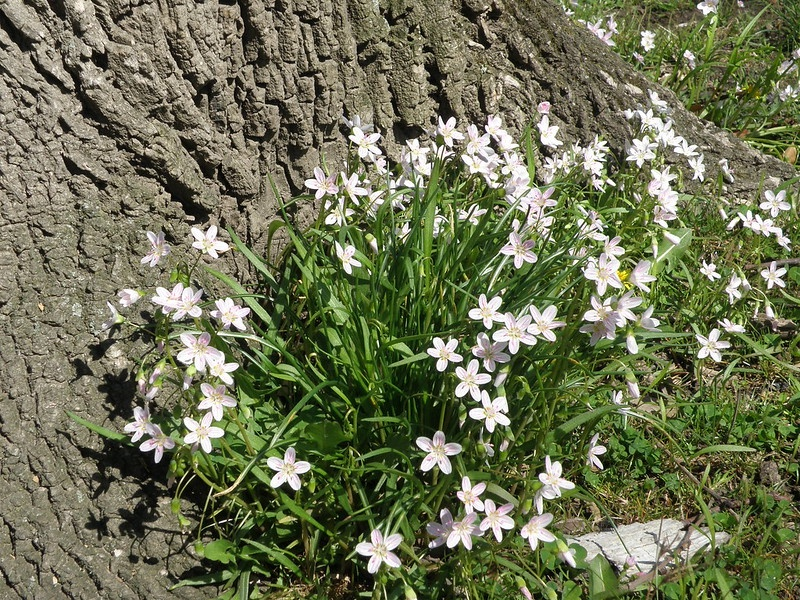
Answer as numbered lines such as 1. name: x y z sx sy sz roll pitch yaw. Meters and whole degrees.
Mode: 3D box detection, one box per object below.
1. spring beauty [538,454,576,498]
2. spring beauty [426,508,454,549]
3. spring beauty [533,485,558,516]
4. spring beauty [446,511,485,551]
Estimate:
1. spring beauty: 0.589 0.693 2.944 0.051 0.174 0.193 -19 50 39
2. spring beauty: 0.133 0.880 2.964 0.134 0.164 0.045 -4 17 -4
3. spring beauty: 0.546 0.747 2.947 0.084 0.133 0.037 13 10 -20
4. spring beauty: 0.250 0.920 2.957 0.135 0.198 0.110 -1 45 3
